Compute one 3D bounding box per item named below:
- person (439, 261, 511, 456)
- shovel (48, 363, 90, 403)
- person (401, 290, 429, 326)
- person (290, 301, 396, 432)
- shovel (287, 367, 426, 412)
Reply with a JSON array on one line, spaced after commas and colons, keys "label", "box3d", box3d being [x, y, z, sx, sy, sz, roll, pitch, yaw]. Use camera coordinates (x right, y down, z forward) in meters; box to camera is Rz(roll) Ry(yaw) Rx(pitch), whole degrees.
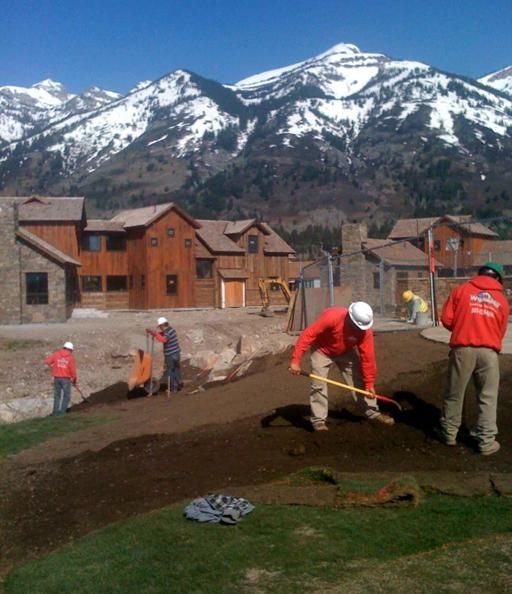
[{"label": "person", "box3d": [2.438, 0.685, 8.023, 0.706, 2.094, 0.545, 0, 1, 20]}, {"label": "shovel", "box3d": [-4.292, 1.987, 16.246, 0.200, 1.469, 0.230, -39, -17, 2]}, {"label": "person", "box3d": [5.784, 0.381, 25.679, 0.810, 1.147, 4.145, 0, 1, 14]}, {"label": "person", "box3d": [0.999, 0.690, 9.151, 1.562, 2.269, 0.811, -1, 1, -10]}, {"label": "shovel", "box3d": [1.147, 1.212, 9.203, 1.463, 0.147, 0.240, 18, 28, 2]}]
